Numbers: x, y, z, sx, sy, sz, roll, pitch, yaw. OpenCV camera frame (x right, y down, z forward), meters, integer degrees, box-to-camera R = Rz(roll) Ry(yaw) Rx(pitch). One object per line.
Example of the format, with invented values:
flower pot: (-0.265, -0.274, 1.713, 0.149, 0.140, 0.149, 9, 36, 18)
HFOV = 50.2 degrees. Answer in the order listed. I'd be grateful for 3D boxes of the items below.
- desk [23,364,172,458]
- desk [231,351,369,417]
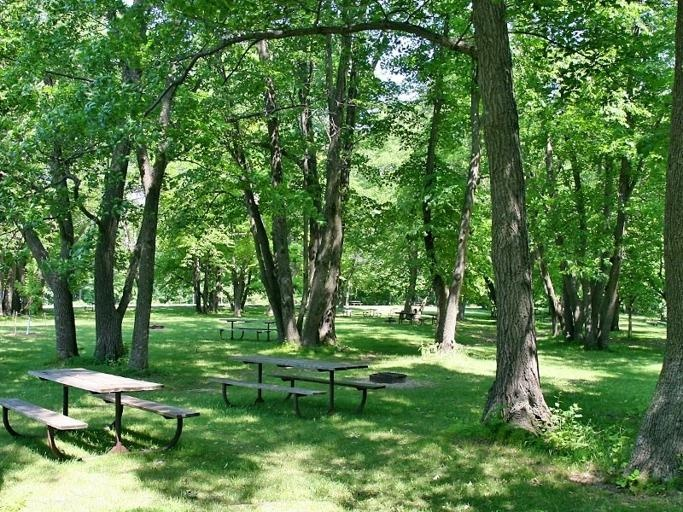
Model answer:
desk: (-4.511, 2.750, 13.147, 2.490, 0.950, 0.883, -2, -14, 34)
desk: (-1.048, 2.780, 15.894, 3.079, 1.045, 1.033, -4, -21, 41)
